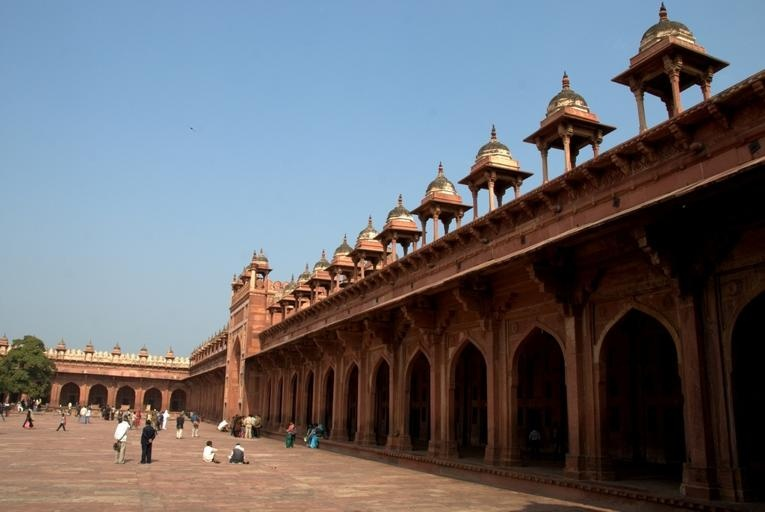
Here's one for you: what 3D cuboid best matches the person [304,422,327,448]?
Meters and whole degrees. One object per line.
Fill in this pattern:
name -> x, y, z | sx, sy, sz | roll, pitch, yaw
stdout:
person -> -2.955, 7.970, 31.119 | 1.249, 0.875, 1.825 | -4, -4, -2

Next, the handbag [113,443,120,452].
handbag -> -8.317, 5.995, 22.083 | 0.140, 0.263, 0.369 | 11, -22, -26

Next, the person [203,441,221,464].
person -> -5.593, 6.453, 23.210 | 0.512, 0.721, 0.850 | 5, -20, -10

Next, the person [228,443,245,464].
person -> -4.738, 6.525, 23.238 | 0.574, 0.658, 1.242 | 5, -20, -11
